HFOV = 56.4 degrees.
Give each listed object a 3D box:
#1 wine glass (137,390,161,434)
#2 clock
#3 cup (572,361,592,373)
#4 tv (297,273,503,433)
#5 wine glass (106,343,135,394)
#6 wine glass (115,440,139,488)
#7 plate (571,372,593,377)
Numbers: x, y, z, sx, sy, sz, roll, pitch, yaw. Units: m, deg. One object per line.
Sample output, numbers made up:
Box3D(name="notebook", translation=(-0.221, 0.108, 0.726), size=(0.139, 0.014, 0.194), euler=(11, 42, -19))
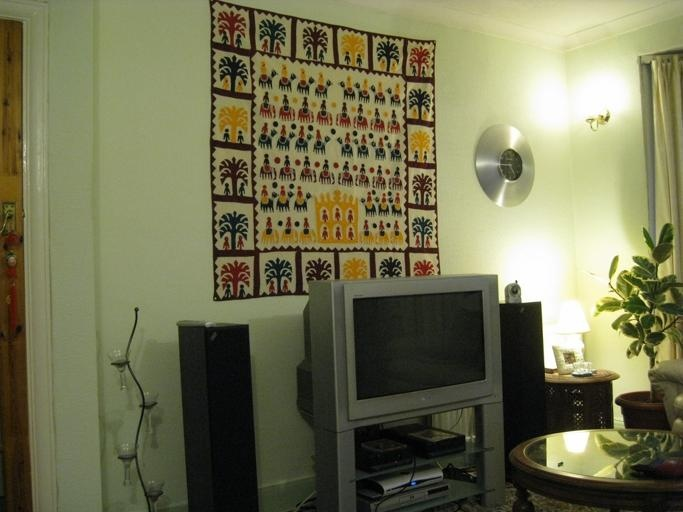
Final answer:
Box3D(name="wine glass", translation=(-1.214, 0.997, 4.044), size=(0.122, 0.291, 0.257), euler=(-1, -1, -19))
Box3D(name="clock", translation=(1.408, -0.781, 5.608), size=(0.680, 0.757, 0.070), euler=(4, -3, -35))
Box3D(name="cup", translation=(1.973, 0.916, 5.242), size=(0.135, 0.103, 0.078), euler=(1, -6, -20))
Box3D(name="tv", translation=(0.326, 0.544, 4.347), size=(1.490, 1.129, 0.805), euler=(-2, 1, -30))
Box3D(name="wine glass", translation=(-1.399, 0.728, 4.006), size=(0.124, 0.291, 0.270), euler=(-1, -2, -20))
Box3D(name="wine glass", translation=(-1.346, 1.309, 3.988), size=(0.116, 0.311, 0.300), euler=(-1, -2, -19))
Box3D(name="plate", translation=(1.956, 0.956, 5.171), size=(0.170, 0.019, 0.096), euler=(-2, -1, 11))
